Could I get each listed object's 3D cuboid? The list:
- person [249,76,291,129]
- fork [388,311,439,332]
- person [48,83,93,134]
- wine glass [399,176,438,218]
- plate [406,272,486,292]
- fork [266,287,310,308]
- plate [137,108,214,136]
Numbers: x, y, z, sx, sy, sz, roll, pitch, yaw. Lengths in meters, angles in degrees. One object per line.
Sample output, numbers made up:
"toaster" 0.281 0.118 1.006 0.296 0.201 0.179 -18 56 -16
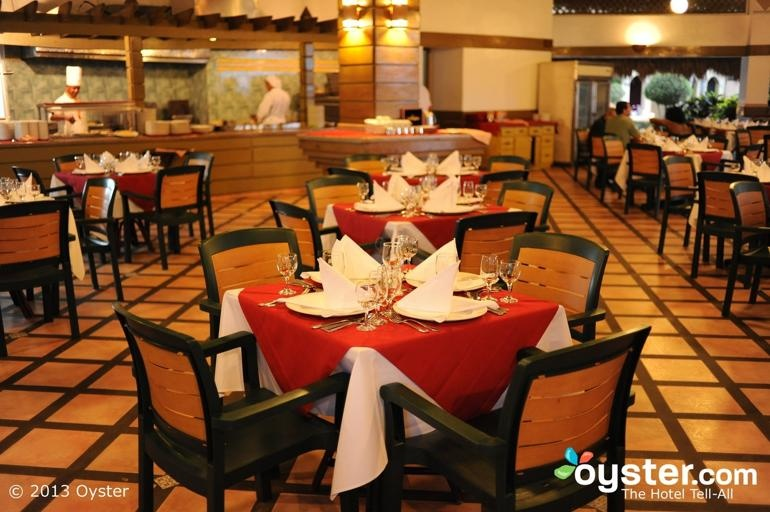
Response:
"person" -2.220 -3.032 10.938 0.590 0.946 0.834 0 14 5
"fork" 0.121 0.305 2.522 0.076 0.013 0.256 -11 13 -30
"person" -5.131 -2.366 9.038 0.495 0.797 1.079 -8 16 -27
"wine glass" 0.269 -0.518 4.755 0.179 0.212 0.592 8 28 18
"plate" 0.380 0.139 2.916 0.185 0.023 0.177 -10 18 -36
"fork" -0.462 0.181 2.817 0.065 0.019 0.354 24 27 26
"plate" -3.781 -2.377 9.956 1.149 0.435 0.914 -12 18 -38
